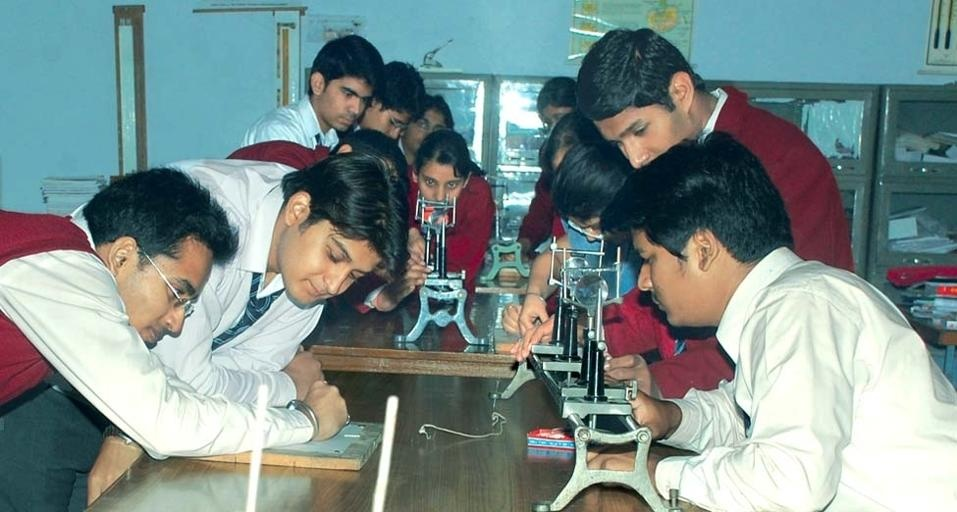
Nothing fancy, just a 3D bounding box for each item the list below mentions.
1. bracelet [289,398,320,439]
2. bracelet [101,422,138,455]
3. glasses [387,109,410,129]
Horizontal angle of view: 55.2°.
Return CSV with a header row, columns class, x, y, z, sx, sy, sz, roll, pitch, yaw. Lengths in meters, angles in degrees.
class,x,y,z,sx,sy,sz,roll,pitch,yaw
bracelet,-0.801,0.749,4.245,0.189,0.064,0.139,28,34,25
bracelet,-1.710,0.864,4.351,0.117,0.136,0.119,-3,16,11
glasses,-0.530,-0.906,6.087,0.039,0.115,0.117,-45,-7,10
